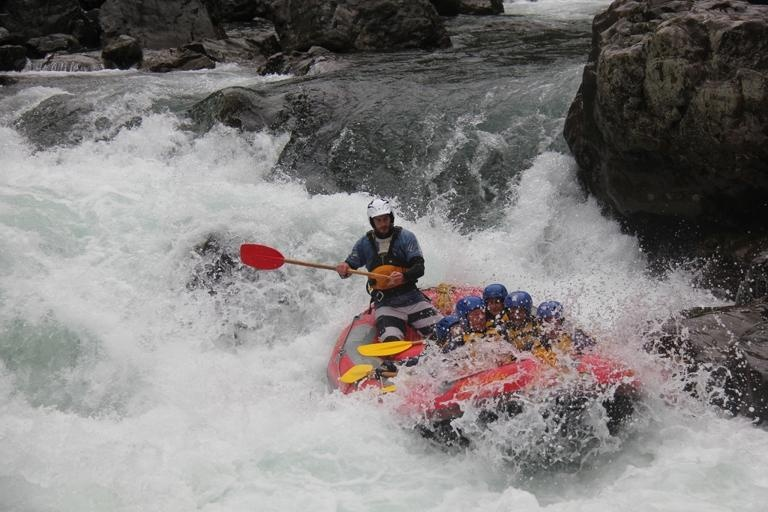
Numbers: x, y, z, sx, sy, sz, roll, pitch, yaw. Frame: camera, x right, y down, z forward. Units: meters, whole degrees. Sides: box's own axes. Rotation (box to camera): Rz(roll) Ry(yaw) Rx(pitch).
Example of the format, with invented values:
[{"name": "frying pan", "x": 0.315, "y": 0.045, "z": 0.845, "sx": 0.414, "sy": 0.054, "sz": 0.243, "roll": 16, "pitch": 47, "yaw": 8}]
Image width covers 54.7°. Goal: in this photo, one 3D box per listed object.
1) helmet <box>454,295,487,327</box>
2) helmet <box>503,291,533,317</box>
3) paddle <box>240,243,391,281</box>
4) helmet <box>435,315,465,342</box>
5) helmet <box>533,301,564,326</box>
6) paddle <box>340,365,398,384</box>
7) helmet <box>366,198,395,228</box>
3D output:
[{"name": "helmet", "x": 1.012, "y": 0.712, "z": 9.665, "sx": 0.323, "sy": 0.411, "sz": 0.367, "roll": -2, "pitch": 78, "yaw": -36}, {"name": "helmet", "x": 1.720, "y": 0.565, "z": 9.588, "sx": 0.280, "sy": 0.316, "sz": 0.348, "roll": 5, "pitch": 46, "yaw": 17}, {"name": "paddle", "x": -1.055, "y": 0.115, "z": 11.089, "sx": 2.870, "sy": 0.201, "sz": 0.385, "roll": 6, "pitch": 107, "yaw": 7}, {"name": "helmet", "x": 0.803, "y": 0.943, "z": 9.726, "sx": 0.363, "sy": 0.276, "sz": 0.313, "roll": -34, "pitch": 71, "yaw": 15}, {"name": "helmet", "x": 2.103, "y": 0.731, "z": 9.477, "sx": 0.258, "sy": 0.342, "sz": 0.264, "roll": -2, "pitch": 74, "yaw": 4}, {"name": "paddle", "x": -0.213, "y": 1.563, "z": 9.667, "sx": 0.780, "sy": 0.197, "sz": 0.257, "roll": 1, "pitch": 71, "yaw": 25}, {"name": "helmet", "x": -0.071, "y": -0.654, "z": 10.488, "sx": 0.339, "sy": 0.283, "sz": 0.357, "roll": -12, "pitch": 70, "yaw": 3}]
